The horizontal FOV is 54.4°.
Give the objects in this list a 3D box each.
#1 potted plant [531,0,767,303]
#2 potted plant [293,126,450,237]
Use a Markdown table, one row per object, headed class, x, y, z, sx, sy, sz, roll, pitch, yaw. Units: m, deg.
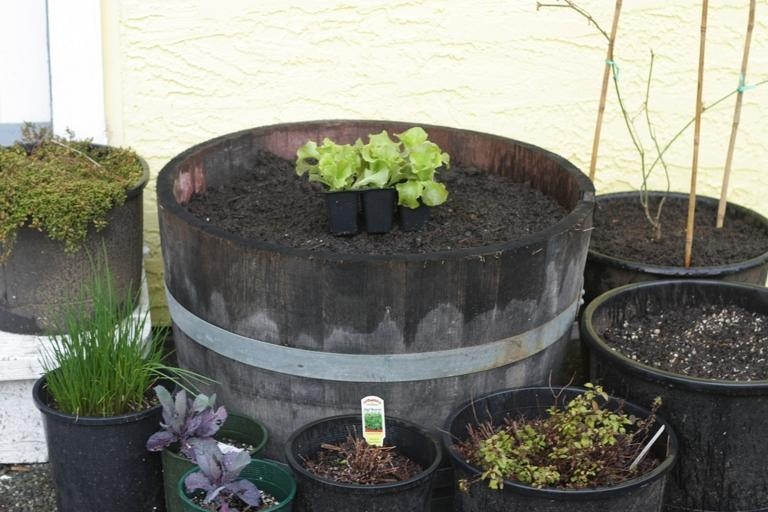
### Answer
| class | x | y | z | sx | sy | sz | roll | pitch | yaw |
| --- | --- | --- | --- | --- | --- | --- | --- | --- | --- |
| potted plant | 1.387 | -0.593 | 3.959 | 1.149 | 1.631 | 1.005 | -15 | 23 | -26 |
| potted plant | -0.046 | -0.416 | 3.390 | 0.666 | 0.418 | 0.524 | -7 | 36 | -9 |
